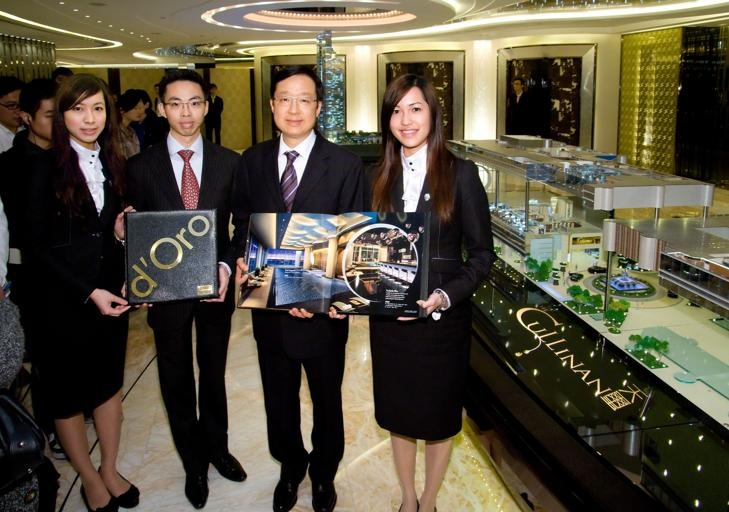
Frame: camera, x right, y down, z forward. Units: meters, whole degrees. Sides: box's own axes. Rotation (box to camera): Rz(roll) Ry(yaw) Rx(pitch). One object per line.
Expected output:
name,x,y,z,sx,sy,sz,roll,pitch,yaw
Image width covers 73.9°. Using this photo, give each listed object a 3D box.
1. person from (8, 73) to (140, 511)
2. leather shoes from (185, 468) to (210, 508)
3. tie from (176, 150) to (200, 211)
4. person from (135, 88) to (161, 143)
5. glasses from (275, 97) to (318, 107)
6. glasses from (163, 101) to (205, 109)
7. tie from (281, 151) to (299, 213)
person,-1.364,0.255,2.353,0.524,2.170,0.425,-7,17,-23
leather shoes,-0.881,1.241,2.566,0.076,0.088,0.228,5,28,-31
tie,-0.846,-0.372,2.343,0.090,0.271,0.090,-6,16,-19
person,-3.306,-2.080,7.438,0.308,0.963,0.288,14,36,-8
glasses,-0.296,-0.687,2.150,0.188,0.033,0.053,-5,17,-15
glasses,-0.832,-0.714,2.285,0.147,0.036,0.041,-9,18,-28
tie,-0.339,-0.338,2.204,0.087,0.263,0.085,-1,16,-2
